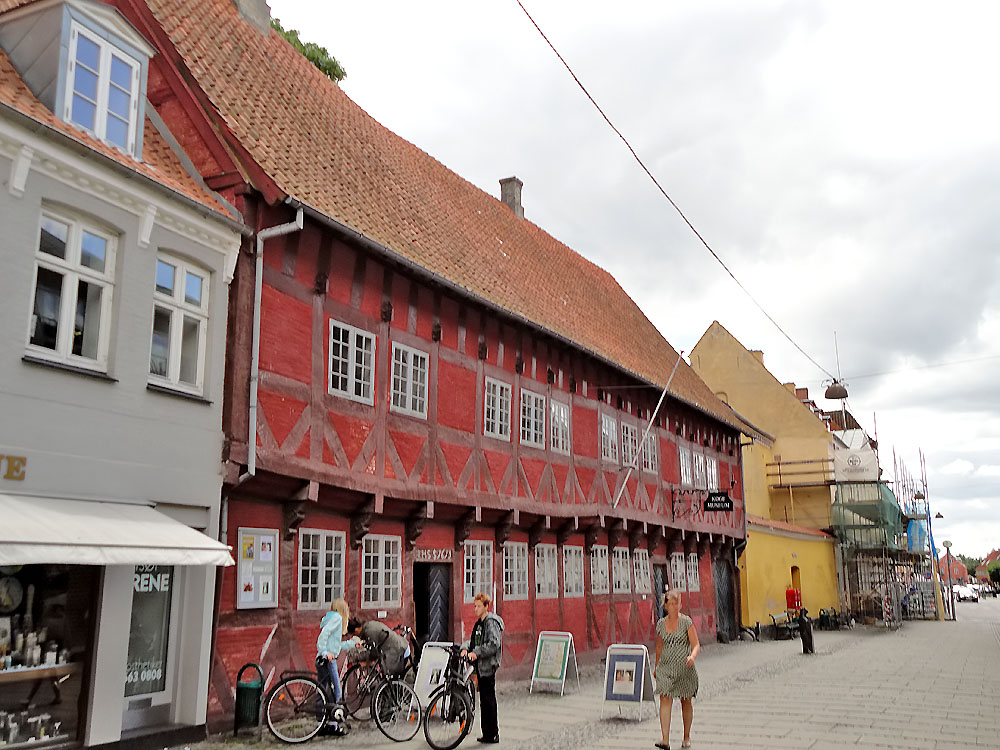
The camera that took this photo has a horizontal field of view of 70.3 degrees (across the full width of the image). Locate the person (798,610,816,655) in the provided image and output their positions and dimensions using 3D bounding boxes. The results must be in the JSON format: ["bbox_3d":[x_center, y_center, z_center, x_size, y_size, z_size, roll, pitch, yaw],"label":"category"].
[{"bbox_3d":[9.981,8.379,23.161,0.380,1.392,0.875,-10,-21,21],"label":"person"}]

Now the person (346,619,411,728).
[{"bbox_3d":[-1.920,4.573,11.099,1.584,1.171,0.850,-2,-31,1],"label":"person"}]

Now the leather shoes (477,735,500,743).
[{"bbox_3d":[-0.153,5.207,10.114,0.306,0.147,0.129,3,-24,5],"label":"leather shoes"}]

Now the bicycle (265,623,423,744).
[{"bbox_3d":[-2.394,4.707,10.644,2.358,1.693,1.125,7,-20,-38],"label":"bicycle"}]

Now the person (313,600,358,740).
[{"bbox_3d":[-2.490,4.493,10.715,0.628,1.648,0.674,-5,-45,-7],"label":"person"}]
